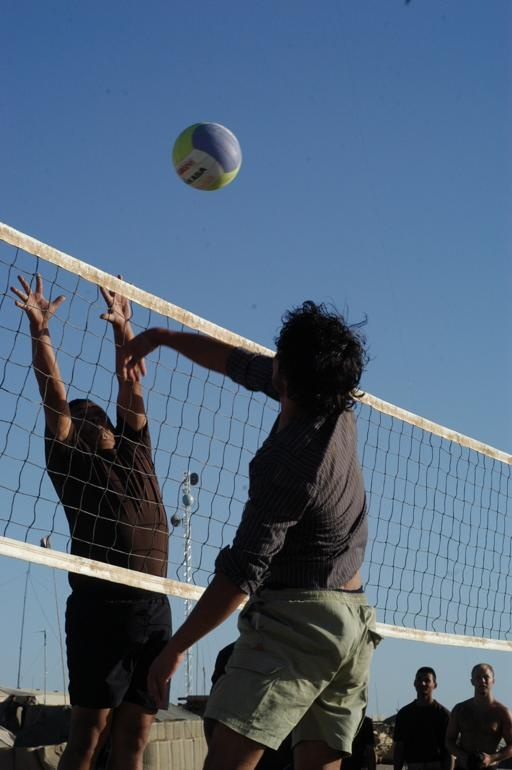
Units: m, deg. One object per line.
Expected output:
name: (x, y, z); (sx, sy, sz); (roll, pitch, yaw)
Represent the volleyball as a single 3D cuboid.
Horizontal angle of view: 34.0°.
volleyball: (-0.273, -1.239, 4.631); (0.381, 0.384, 0.380); (3, 22, 33)
